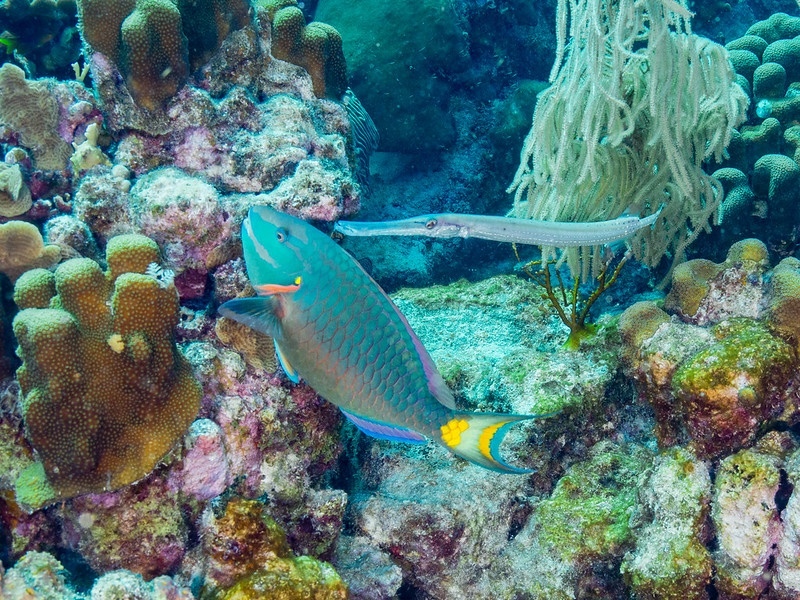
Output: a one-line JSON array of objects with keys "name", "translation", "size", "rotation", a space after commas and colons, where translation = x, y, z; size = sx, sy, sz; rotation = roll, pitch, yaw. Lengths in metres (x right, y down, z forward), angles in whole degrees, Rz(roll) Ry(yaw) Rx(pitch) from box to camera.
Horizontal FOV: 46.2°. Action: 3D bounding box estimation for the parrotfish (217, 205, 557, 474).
[{"name": "parrotfish", "translation": [-0.325, 0.355, 7.347], "size": [2.194, 1.258, 0.882], "rotation": [26, 61, 19]}]
